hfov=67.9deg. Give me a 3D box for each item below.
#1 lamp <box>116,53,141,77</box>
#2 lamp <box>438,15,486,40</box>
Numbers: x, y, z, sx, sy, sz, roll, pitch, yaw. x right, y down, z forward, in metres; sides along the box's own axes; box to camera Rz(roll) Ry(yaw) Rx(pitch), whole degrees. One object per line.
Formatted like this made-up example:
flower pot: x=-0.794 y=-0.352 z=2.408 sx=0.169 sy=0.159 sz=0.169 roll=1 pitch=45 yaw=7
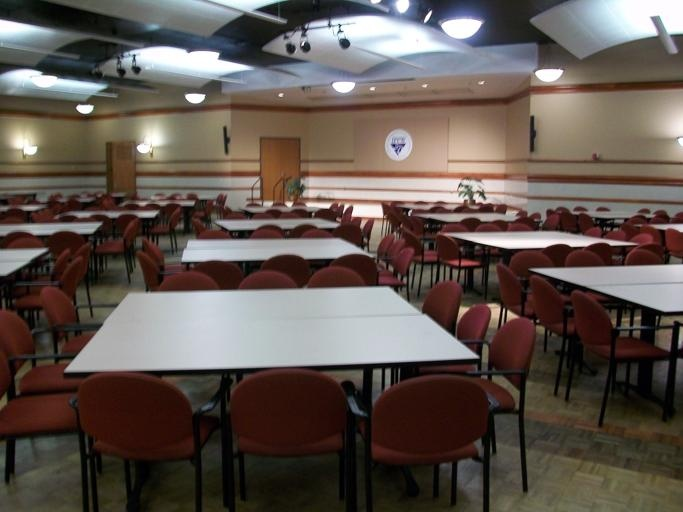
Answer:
lamp: x=-5.228 y=-4.669 z=12.432 sx=0.537 sy=0.543 sz=1.941 roll=-6 pitch=11 yaw=-22
lamp: x=2.052 y=-3.958 z=8.686 sx=0.656 sy=0.267 sz=0.435 roll=1 pitch=11 yaw=15
